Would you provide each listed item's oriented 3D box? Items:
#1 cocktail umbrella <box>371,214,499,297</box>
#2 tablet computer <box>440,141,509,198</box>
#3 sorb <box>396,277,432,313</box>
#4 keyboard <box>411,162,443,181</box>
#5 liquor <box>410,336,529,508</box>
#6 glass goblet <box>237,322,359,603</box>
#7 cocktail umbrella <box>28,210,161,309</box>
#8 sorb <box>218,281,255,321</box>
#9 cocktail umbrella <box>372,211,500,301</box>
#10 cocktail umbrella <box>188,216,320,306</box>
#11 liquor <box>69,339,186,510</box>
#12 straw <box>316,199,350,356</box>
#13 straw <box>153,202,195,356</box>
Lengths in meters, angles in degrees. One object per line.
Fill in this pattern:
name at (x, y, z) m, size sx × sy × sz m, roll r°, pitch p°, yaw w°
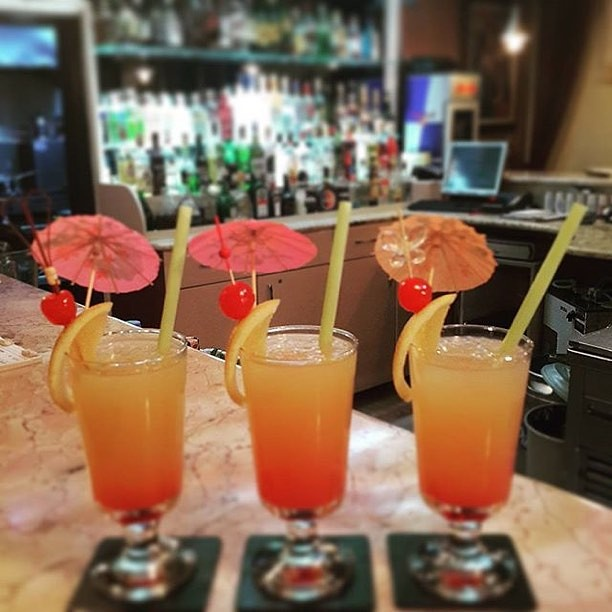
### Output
cocktail umbrella at (0.126, -0.050, 0.564) m, size 0.116 × 0.024 × 0.115 m, roll 24°, pitch -33°, yaw -38°
tablet computer at (1.132, -0.915, 3.970) m, size 0.193 × 0.350 × 0.438 m, roll -13°, pitch 18°, yaw -39°
sorb at (0.098, -0.009, 0.544) m, size 0.036 × 0.032 × 0.031 m, roll 1°, pitch -3°, yaw 1°
keyboard at (0.896, -0.976, 4.349) m, size 0.217 × 0.115 × 0.159 m, roll -3°, pitch 13°, yaw -7°
liquor at (0.145, 0.098, 0.532) m, size 0.084 × 0.147 × 0.100 m, roll 10°, pitch 18°, yaw 40°
glass goblet at (-0.013, 0.127, 0.521) m, size 0.116 × 0.193 × 0.168 m, roll -1°, pitch 14°, yaw 4°
cocktail umbrella at (-0.208, -0.031, 0.612) m, size 0.103 × 0.096 × 0.088 m, roll 2°, pitch 47°, yaw -20°
sorb at (-0.058, -0.005, 0.579) m, size 0.042 × 0.040 × 0.038 m, roll 0°, pitch 6°, yaw 3°
cocktail umbrella at (0.121, -0.051, 0.570) m, size 0.102 × 0.090 × 0.024 m, roll 0°, pitch 47°, yaw 17°
cocktail umbrella at (-0.054, -0.044, 0.595) m, size 0.121 × 0.070 × 0.109 m, roll -4°, pitch -23°, yaw -2°
liquor at (-0.159, 0.102, 0.545) m, size 0.094 × 0.142 × 0.104 m, roll -14°, pitch 19°, yaw -41°
straw at (0.028, -0.023, 0.512) m, size 0.017 × 0.142 × 0.015 m, roll 7°, pitch -11°, yaw 8°
straw at (-0.124, 0.005, 0.536) m, size 0.028 × 0.212 × 0.027 m, roll 13°, pitch 21°, yaw 20°
